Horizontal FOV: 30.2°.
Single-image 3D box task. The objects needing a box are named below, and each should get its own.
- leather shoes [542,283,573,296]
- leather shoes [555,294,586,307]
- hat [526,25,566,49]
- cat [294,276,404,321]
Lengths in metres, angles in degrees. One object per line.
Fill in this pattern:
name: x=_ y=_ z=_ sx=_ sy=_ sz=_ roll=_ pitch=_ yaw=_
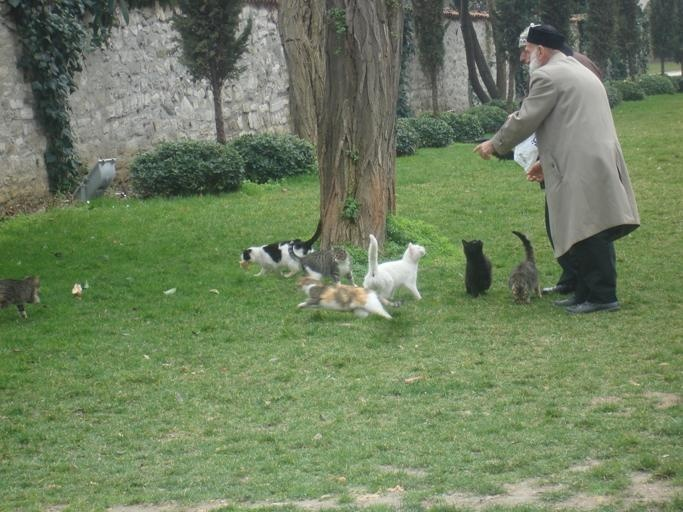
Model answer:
leather shoes: x=3.360 y=0.518 z=19.595 sx=0.466 sy=0.224 sz=0.184 roll=3 pitch=1 yaw=9
leather shoes: x=3.466 y=0.679 z=19.150 sx=0.487 sy=0.237 sz=0.177 roll=3 pitch=0 yaw=8
hat: x=3.072 y=-3.248 z=18.874 sx=0.440 sy=0.249 sz=0.350 roll=28 pitch=18 yaw=13
cat: x=0.125 y=0.665 z=18.955 sx=0.926 sy=0.532 sz=0.238 roll=10 pitch=35 yaw=4
